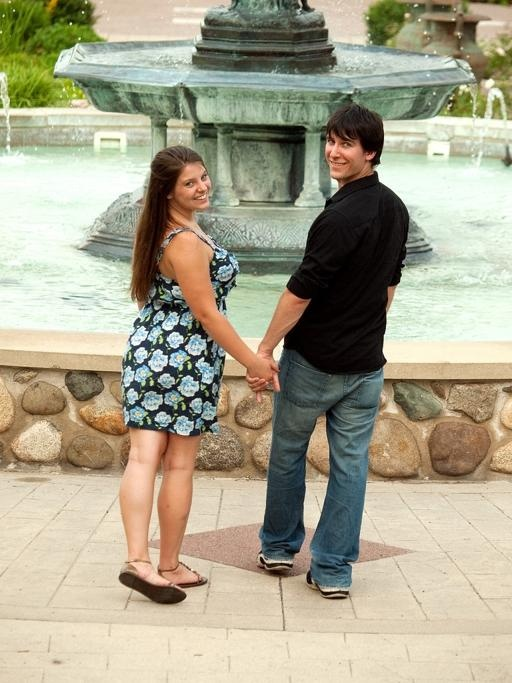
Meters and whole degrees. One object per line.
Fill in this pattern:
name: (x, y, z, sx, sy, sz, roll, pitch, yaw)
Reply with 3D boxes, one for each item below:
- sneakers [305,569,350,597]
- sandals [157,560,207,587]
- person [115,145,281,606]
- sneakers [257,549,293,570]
sneakers: (0.232, 0.771, 2.228, 0.058, 0.043, 0.139, -5, 10, -24)
sandals: (-0.219, 0.733, 2.227, 0.191, 0.062, 0.064, 0, 2, -30)
person: (-0.184, 0.096, 2.091, 0.426, 1.374, 0.383, 3, 6, -10)
sneakers: (0.053, 0.752, 2.386, 0.053, 0.048, 0.140, 10, -14, -41)
